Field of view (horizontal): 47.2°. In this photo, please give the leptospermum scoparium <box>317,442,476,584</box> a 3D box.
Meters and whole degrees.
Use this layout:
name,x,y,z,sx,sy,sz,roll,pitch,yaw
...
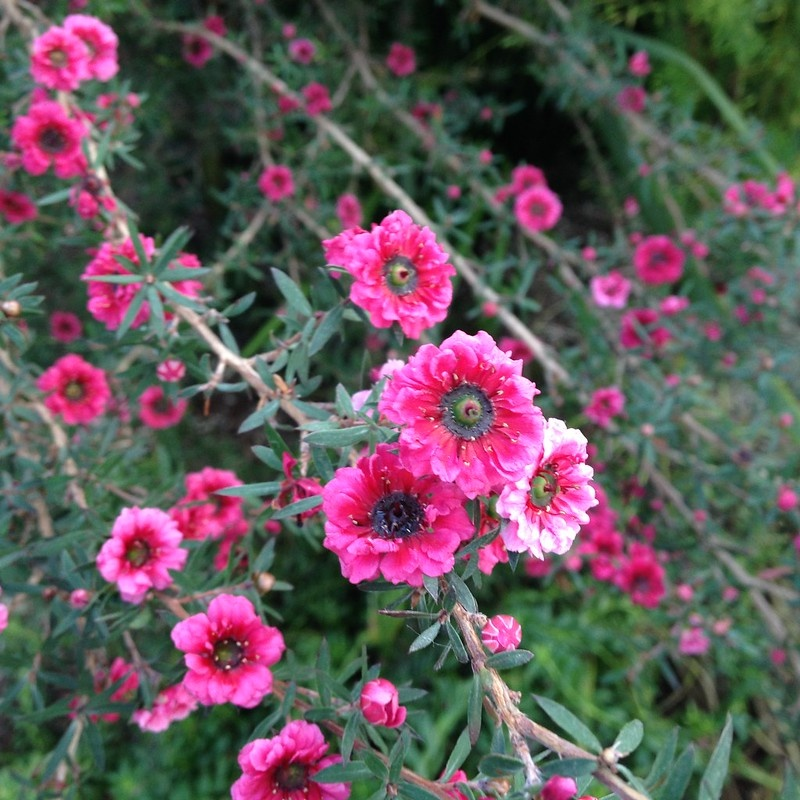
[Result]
name,x,y,z,sx,sy,sz,roll,pitch,yaw
leptospermum scoparium,0.008,0.193,2.014,0.331,0.138,0.307,9,17,43

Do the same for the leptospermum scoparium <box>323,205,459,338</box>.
name,x,y,z,sx,sy,sz,roll,pitch,yaw
leptospermum scoparium,-0.014,-0.292,2.117,0.287,0.308,0.111,-7,-1,-25

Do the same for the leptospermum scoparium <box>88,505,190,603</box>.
name,x,y,z,sx,sy,sz,roll,pitch,yaw
leptospermum scoparium,-0.633,0.375,2.187,0.220,0.094,0.236,-24,47,-27

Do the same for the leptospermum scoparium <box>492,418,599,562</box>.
name,x,y,z,sx,sy,sz,roll,pitch,yaw
leptospermum scoparium,0.330,0.159,1.965,0.235,0.099,0.255,-2,35,-23

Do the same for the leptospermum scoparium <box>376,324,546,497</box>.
name,x,y,z,sx,sy,sz,roll,pitch,yaw
leptospermum scoparium,0.135,0.033,1.919,0.315,0.341,0.090,-25,-6,-1

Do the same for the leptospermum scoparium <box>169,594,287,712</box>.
name,x,y,z,sx,sy,sz,roll,pitch,yaw
leptospermum scoparium,-0.405,0.552,2.050,0.089,0.231,0.239,26,14,-33
